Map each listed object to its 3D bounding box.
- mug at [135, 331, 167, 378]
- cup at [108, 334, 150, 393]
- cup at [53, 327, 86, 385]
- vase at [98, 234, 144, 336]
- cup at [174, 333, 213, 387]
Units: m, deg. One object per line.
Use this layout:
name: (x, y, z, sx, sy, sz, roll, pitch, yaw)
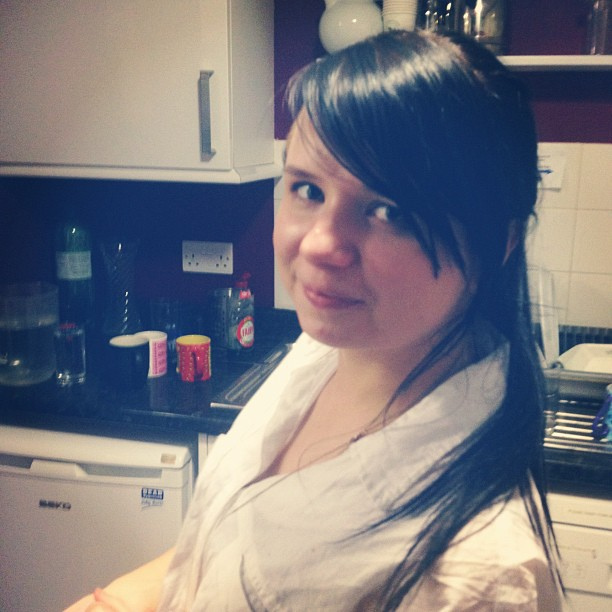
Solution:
mug: (-0.443, 0.133, 1.851, 0.090, 0.124, 0.101, 2, 4, 14)
cup: (-0.457, 0.154, 1.790, 0.082, 0.140, 0.145, 1, 8, 2)
cup: (-0.652, 0.132, 1.848, 0.080, 0.164, 0.084, 5, 18, -2)
vase: (-0.586, -0.056, 2.114, 0.114, 0.387, 0.120, 1, 21, -3)
cup: (-0.306, 0.129, 1.801, 0.067, 0.113, 0.115, -2, 19, -16)
